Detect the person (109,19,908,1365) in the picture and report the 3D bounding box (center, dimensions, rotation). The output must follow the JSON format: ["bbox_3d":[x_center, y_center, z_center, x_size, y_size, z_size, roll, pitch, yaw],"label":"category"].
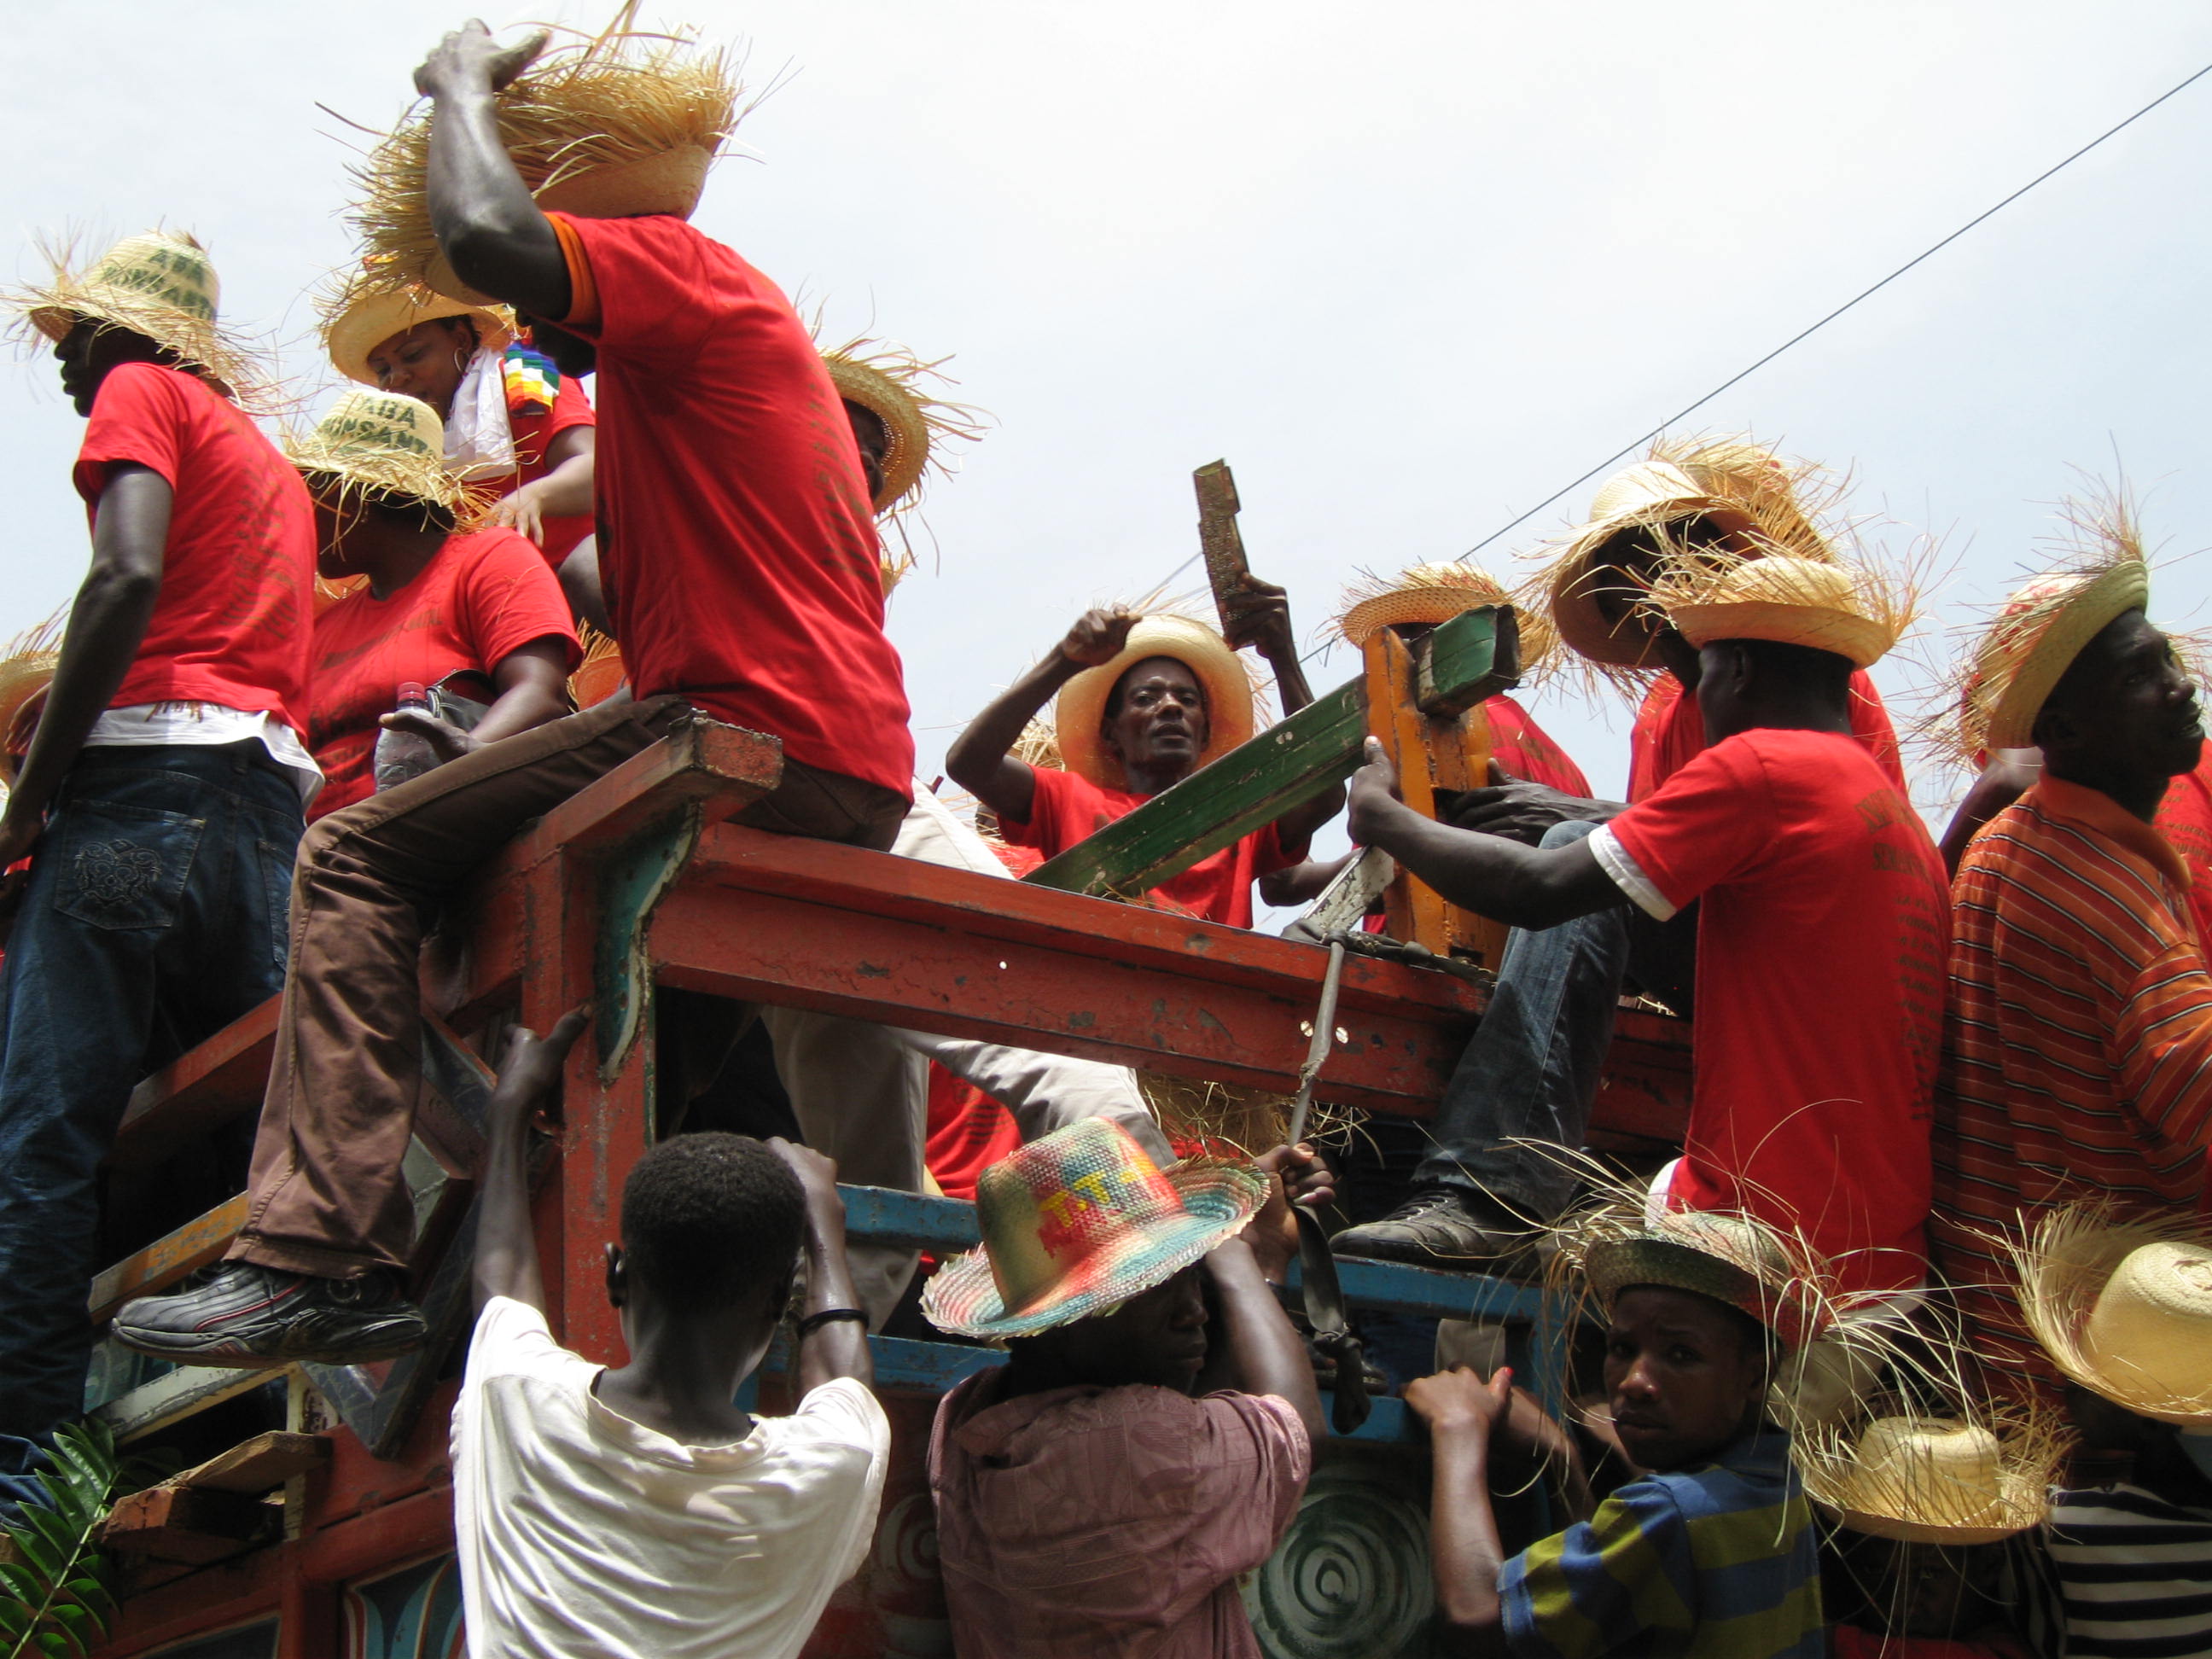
[{"bbox_3d":[-1.237,-0.321,5.130,0.864,3.021,1.309,-16,-34,39],"label":"person"}]

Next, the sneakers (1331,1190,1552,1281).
[{"bbox_3d":[0.797,0.953,5.534,0.540,0.150,0.177,8,-13,-21],"label":"sneakers"}]

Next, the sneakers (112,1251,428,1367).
[{"bbox_3d":[-1.604,0.979,4.716,0.692,0.242,0.216,8,-20,-19],"label":"sneakers"}]

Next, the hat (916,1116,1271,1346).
[{"bbox_3d":[-0.063,0.796,4.608,0.703,0.463,0.384,-17,-33,42],"label":"hat"}]

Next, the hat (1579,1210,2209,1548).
[{"bbox_3d":[1.526,1.148,4.639,0.943,0.372,0.883,10,-38,12],"label":"hat"}]
